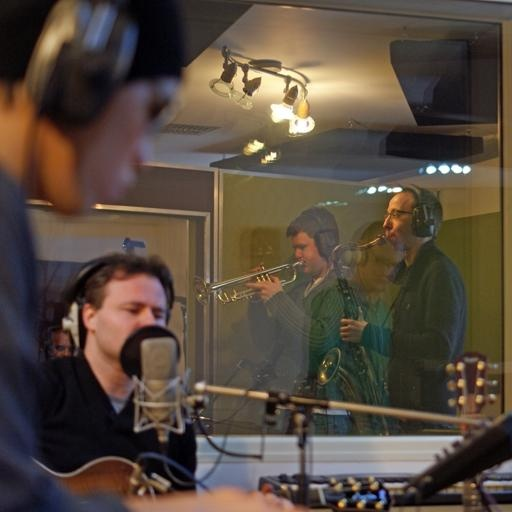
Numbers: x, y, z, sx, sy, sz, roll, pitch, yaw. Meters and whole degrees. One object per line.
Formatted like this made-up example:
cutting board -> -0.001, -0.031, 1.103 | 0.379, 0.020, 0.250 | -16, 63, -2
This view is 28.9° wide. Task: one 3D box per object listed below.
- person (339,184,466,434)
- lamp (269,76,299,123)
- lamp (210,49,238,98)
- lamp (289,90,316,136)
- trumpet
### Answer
person -> 0.456, 0.155, 3.193 | 0.259, 0.746, 0.387 | 5, 4, 3
lamp -> 0.079, -0.474, 3.013 | 0.089, 0.131, 0.085 | 20, 6, -15
lamp -> -0.090, -0.538, 2.959 | 0.066, 0.124, 0.094 | -2, 4, -36
lamp -> 0.150, -0.431, 3.048 | 0.047, 0.115, 0.079 | -7, 8, -44
trumpet -> -0.020, 0.082, 3.037 | 0.359, 0.153, 0.110 | -14, -7, -13
